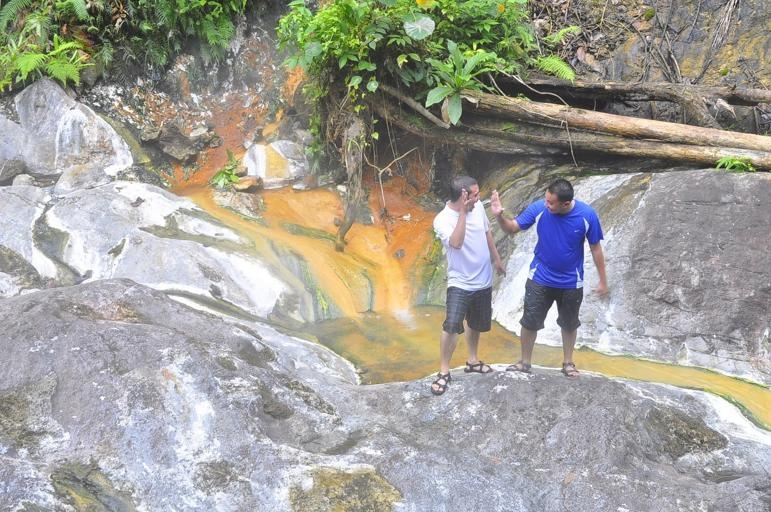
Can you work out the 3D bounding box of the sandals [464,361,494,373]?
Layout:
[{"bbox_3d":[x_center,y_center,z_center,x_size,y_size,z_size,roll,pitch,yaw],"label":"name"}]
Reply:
[{"bbox_3d":[1.218,1.403,9.387,0.295,0.112,0.150,-1,7,1],"label":"sandals"}]

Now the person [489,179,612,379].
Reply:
[{"bbox_3d":[2.055,0.246,8.973,1.325,2.246,1.009,12,41,18],"label":"person"}]

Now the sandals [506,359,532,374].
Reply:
[{"bbox_3d":[1.719,1.412,9.359,0.327,0.131,0.135,3,2,4],"label":"sandals"}]
